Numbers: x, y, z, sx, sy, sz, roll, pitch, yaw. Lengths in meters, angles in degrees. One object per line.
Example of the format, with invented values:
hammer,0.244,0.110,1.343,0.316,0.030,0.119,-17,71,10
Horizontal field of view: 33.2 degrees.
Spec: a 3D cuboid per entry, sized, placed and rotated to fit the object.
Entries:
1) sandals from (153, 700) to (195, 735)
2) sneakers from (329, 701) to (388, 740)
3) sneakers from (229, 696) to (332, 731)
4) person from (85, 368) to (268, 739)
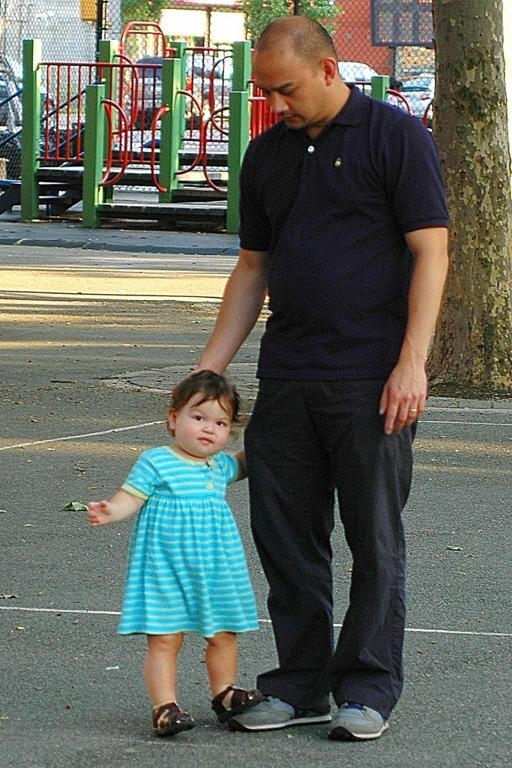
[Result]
sandals,-0.191,0.774,1.996,0.059,0.047,0.113,-10,-8,-31
sneakers,0.233,0.802,2.065,0.159,0.060,0.062,-2,13,-8
sneakers,0.055,0.817,2.173,0.249,0.088,0.078,4,-10,-22
person,-0.204,0.399,2.055,0.408,0.855,0.322,0,10,-15
